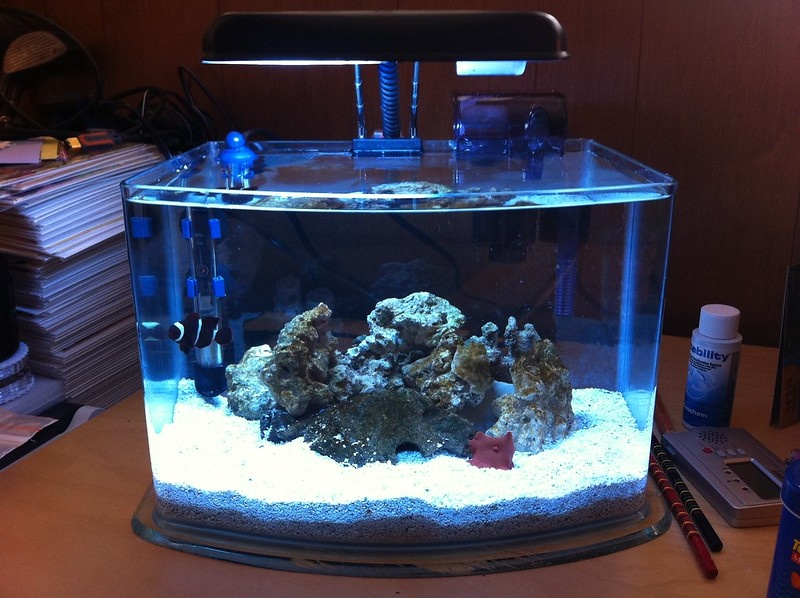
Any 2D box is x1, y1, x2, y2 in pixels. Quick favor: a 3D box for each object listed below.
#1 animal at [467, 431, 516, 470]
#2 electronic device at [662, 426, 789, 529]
[{"bbox_3d":[0.144,0.237,1.123,0.069,0.035,0.049,1,27,3],"label":"animal"},{"bbox_3d":[0.592,0.308,1.273,0.173,0.058,0.236,-1,23,-8],"label":"electronic device"}]
